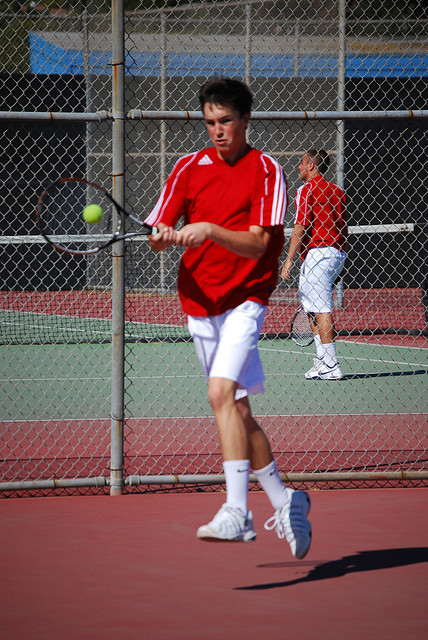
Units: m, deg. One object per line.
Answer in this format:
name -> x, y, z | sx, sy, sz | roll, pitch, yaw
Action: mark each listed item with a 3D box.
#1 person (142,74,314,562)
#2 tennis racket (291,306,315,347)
person -> 0.042, 0.023, 2.323 | 0.597, 1.749, 0.761 | 0, 5, 7
tennis racket -> 0.922, 0.078, 7.255 | 0.097, 0.388, 0.291 | -25, 26, -33
